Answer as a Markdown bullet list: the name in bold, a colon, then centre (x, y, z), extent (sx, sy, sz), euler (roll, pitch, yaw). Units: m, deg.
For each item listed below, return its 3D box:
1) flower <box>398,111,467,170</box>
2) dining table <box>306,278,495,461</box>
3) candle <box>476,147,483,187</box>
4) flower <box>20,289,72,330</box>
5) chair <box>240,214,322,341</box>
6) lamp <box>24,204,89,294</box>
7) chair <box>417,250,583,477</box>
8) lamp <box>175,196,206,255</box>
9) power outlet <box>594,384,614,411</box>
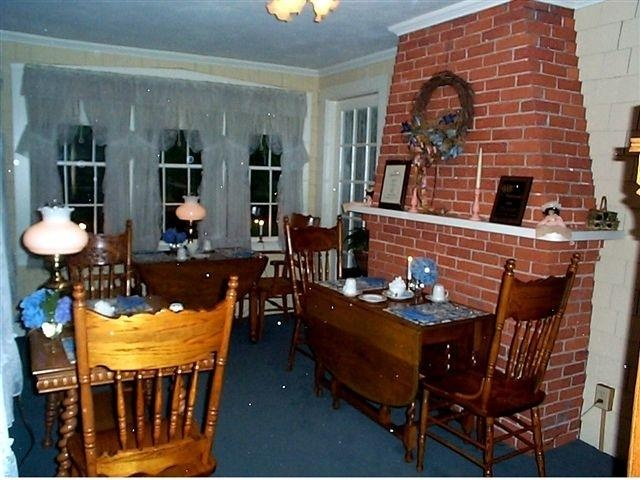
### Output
- **flower**: centre (0.972, -0.830, 4.041), extent (0.573, 0.405, 0.454), euler (1, 10, 7)
- **dining table**: centre (0.533, 0.883, 3.869), extent (0.800, 0.910, 1.372), euler (-6, 13, -35)
- **candle**: centre (1.212, -0.543, 3.659), extent (0.047, 0.298, 0.215), euler (6, 13, 17)
- **flower**: centre (-1.640, 0.459, 2.948), extent (0.314, 0.212, 0.306), euler (-6, 14, -31)
- **chair**: centre (-0.499, 0.447, 5.569), extent (0.831, 1.142, 0.825), euler (6, 10, 1)
- **lamp**: centre (-1.822, 0.065, 3.307), extent (0.426, 0.556, 0.453), euler (0, 4, 12)
- **chair**: centre (1.169, 0.816, 3.186), extent (0.750, 1.549, 0.846), euler (12, 16, 36)
- **lamp**: centre (-1.318, -0.136, 4.986), extent (0.334, 0.619, 0.323), euler (-1, 0, -13)
- **power outlet**: centre (2.077, 1.144, 3.522), extent (0.054, 0.182, 0.134), euler (-6, 15, -30)
